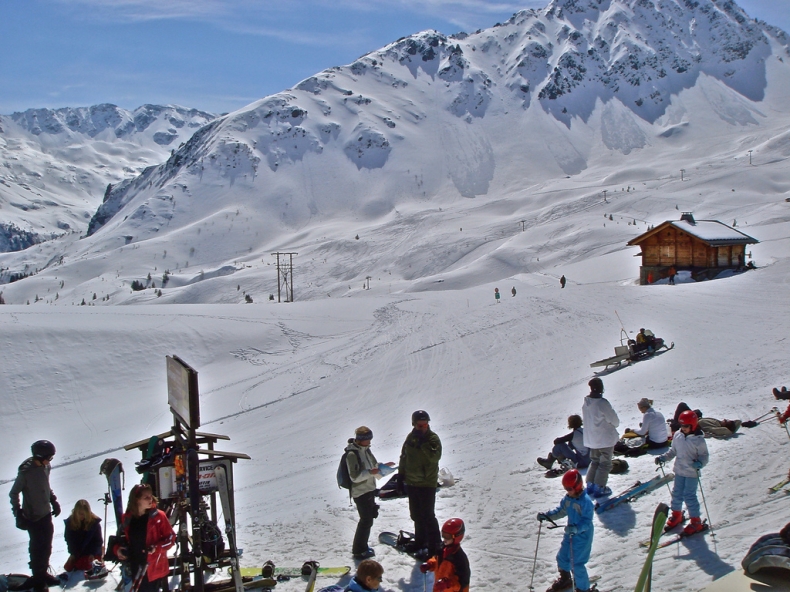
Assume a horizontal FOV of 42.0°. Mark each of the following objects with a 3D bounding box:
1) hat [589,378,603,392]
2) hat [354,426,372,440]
[{"bbox_3d":[7.977,3.519,40.706,0.477,0.533,0.557,7,-15,7],"label":"hat"},{"bbox_3d":[-1.187,5.244,39.503,0.553,0.296,0.526,3,4,19],"label":"hat"}]
